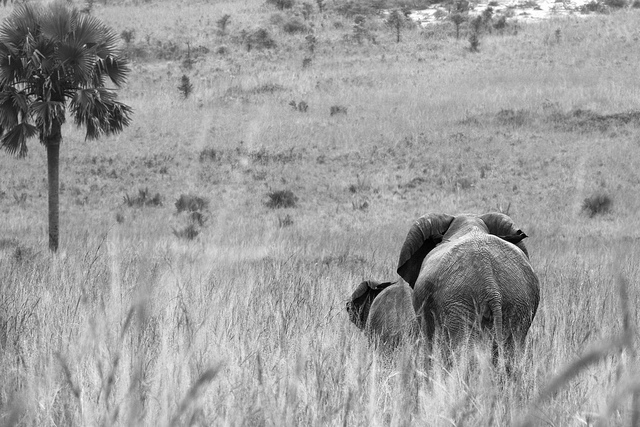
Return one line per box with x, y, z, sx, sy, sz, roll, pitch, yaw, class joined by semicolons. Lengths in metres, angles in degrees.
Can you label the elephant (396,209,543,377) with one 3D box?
4.385;2.129;34.834;3.036;3.921;5.170;0;8;-6;elephant
